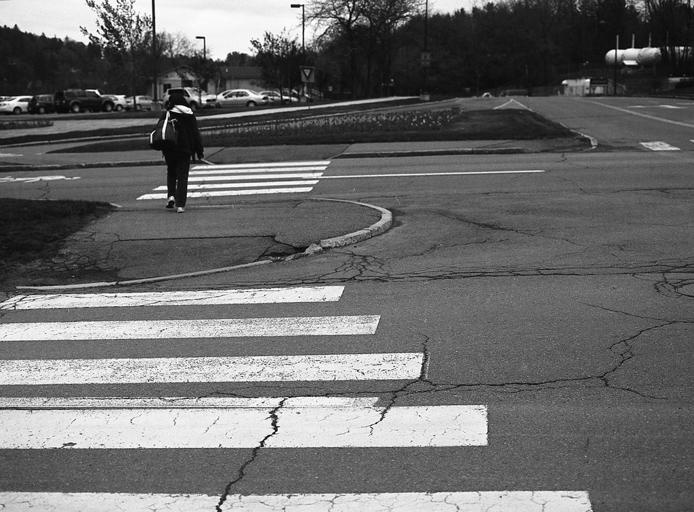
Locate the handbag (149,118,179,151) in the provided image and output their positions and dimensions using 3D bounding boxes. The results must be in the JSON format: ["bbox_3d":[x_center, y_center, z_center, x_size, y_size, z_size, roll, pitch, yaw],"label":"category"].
[{"bbox_3d":[-3.154,-2.101,15.351,0.488,0.548,0.299,-3,9,-4],"label":"handbag"}]

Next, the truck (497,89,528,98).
[{"bbox_3d":[18.573,-18.086,98.085,2.585,0.538,31.797,0,11,10],"label":"truck"}]

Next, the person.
[{"bbox_3d":[-2.997,-1.858,15.779,0.863,2.091,1.006,-3,9,-10],"label":"person"}]
